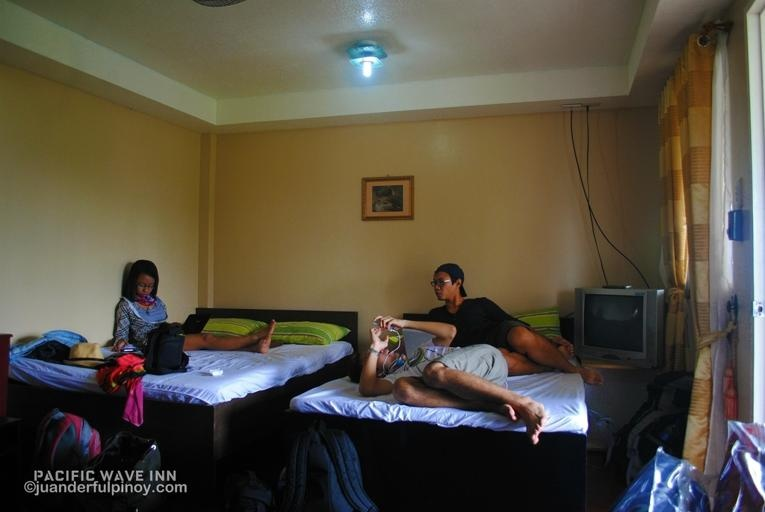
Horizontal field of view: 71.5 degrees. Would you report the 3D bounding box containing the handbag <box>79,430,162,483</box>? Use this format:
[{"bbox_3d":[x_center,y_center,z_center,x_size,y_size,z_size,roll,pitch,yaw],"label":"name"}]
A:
[{"bbox_3d":[-1.696,1.311,3.540,0.308,0.133,0.305,7,-2,-32],"label":"handbag"}]

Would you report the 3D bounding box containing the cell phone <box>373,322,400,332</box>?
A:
[{"bbox_3d":[0.035,0.526,3.999,0.104,0.029,0.105,0,-20,39],"label":"cell phone"}]

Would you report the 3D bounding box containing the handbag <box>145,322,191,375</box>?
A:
[{"bbox_3d":[-1.708,0.682,4.248,0.367,0.402,0.347,2,25,-21],"label":"handbag"}]

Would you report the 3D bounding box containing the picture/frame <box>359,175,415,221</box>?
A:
[{"bbox_3d":[0.077,-0.623,5.628,0.481,0.422,0.037,1,1,12],"label":"picture/frame"}]

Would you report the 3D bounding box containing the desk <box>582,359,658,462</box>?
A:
[{"bbox_3d":[1.939,1.278,4.524,0.536,0.772,0.231,29,1,28],"label":"desk"}]

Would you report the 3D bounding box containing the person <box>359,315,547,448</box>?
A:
[{"bbox_3d":[0.484,0.781,3.765,1.072,0.648,1.928,8,-11,-24],"label":"person"}]

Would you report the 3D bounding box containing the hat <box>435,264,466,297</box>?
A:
[{"bbox_3d":[0.624,0.208,4.920,0.334,0.296,0.247,5,-4,-21],"label":"hat"}]

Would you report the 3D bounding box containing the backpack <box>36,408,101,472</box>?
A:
[{"bbox_3d":[-2.291,1.331,3.880,0.311,0.376,0.427,-21,-18,19],"label":"backpack"}]

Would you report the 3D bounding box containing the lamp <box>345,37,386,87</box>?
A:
[{"bbox_3d":[-0.144,-1.748,4.709,0.361,0.259,0.354,-1,0,2],"label":"lamp"}]

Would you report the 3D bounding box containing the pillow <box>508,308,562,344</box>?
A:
[{"bbox_3d":[1.482,0.700,5.230,0.479,0.207,0.520,5,-38,14],"label":"pillow"}]

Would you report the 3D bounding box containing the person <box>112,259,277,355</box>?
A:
[{"bbox_3d":[-1.864,0.549,5.176,1.526,0.961,1.025,1,-1,6],"label":"person"}]

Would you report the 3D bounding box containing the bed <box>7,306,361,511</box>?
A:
[{"bbox_3d":[-1.180,1.230,4.530,1.591,0.731,1.673,-2,-5,19],"label":"bed"}]
